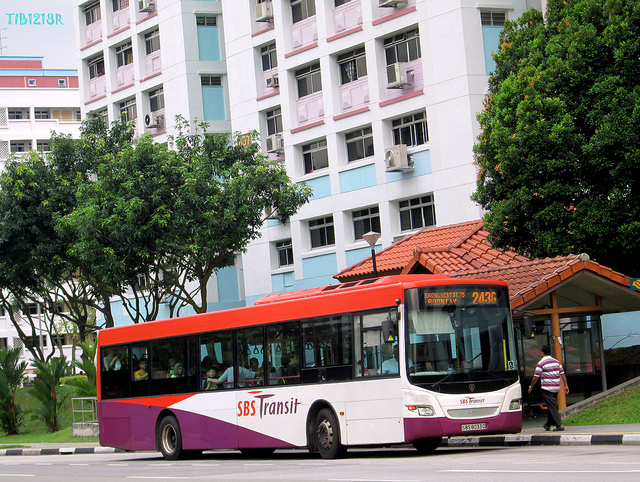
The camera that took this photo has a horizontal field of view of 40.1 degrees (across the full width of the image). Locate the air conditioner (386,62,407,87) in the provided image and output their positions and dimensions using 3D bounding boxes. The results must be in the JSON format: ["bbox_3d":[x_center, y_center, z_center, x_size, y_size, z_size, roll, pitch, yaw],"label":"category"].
[{"bbox_3d":[3.200,-6.901,36.135,0.372,0.927,0.924,8,-14,-25],"label":"air conditioner"}]

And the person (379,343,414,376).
[{"bbox_3d":[1.695,2.590,19.111,0.683,0.694,0.292,1,1,28],"label":"person"}]

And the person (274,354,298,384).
[{"bbox_3d":[-0.875,3.316,21.201,0.497,1.009,0.312,4,11,-5],"label":"person"}]

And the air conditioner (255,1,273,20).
[{"bbox_3d":[-2.685,-11.029,41.757,0.619,0.869,1.155,-5,3,-19],"label":"air conditioner"}]

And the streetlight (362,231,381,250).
[{"bbox_3d":[1.705,-0.090,28.526,0.488,0.574,0.509,-11,-7,-9],"label":"streetlight"}]

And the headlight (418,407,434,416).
[{"bbox_3d":[2.254,3.636,18.736,0.225,0.099,0.185,-1,2,-14],"label":"headlight"}]

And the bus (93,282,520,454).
[{"bbox_3d":[-1.009,3.513,22.837,12.537,3.896,2.966,-14,-13,40],"label":"bus"}]

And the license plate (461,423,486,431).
[{"bbox_3d":[3.323,4.013,18.919,0.546,0.130,0.026,-1,-9,-21],"label":"license plate"}]

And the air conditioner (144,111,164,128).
[{"bbox_3d":[-9.032,-6.510,46.837,0.812,0.667,0.799,3,-7,-39],"label":"air conditioner"}]

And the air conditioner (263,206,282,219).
[{"bbox_3d":[-2.235,-1.324,40.961,0.453,0.797,0.784,4,0,16],"label":"air conditioner"}]

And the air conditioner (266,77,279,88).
[{"bbox_3d":[-2.286,-7.534,41.414,0.370,0.552,0.529,1,-1,-37],"label":"air conditioner"}]
